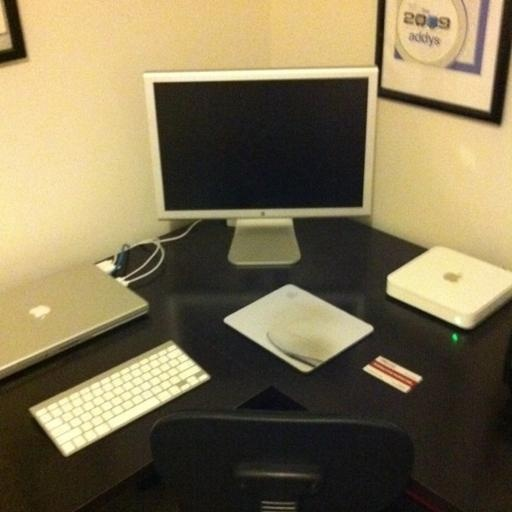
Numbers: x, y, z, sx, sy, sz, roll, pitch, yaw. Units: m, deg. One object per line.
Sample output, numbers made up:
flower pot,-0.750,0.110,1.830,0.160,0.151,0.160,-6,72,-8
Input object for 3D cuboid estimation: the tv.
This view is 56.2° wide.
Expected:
tv,0.024,-0.089,1.383,0.649,0.583,0.335,-1,40,2
